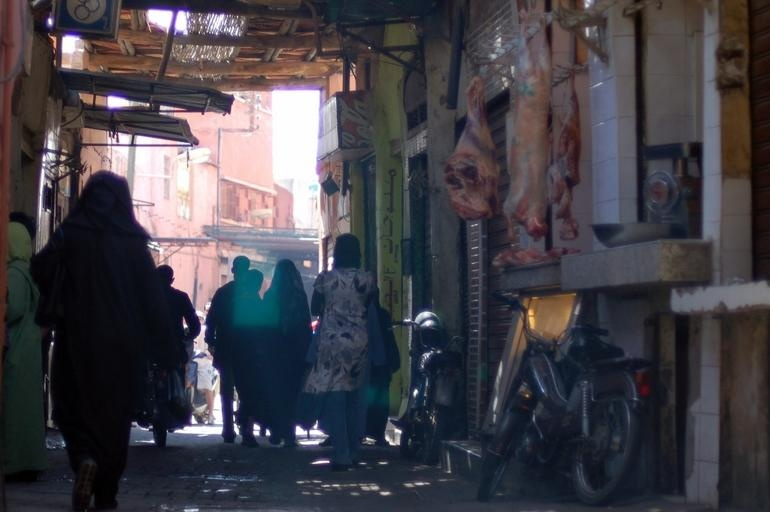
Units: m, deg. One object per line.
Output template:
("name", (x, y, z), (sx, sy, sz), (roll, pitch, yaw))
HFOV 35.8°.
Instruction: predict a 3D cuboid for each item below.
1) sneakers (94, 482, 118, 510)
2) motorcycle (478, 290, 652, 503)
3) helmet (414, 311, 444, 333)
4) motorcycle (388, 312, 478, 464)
("sneakers", (-2.342, 2.025, 10.040), (0.108, 0.226, 0.307), (1, 2, 2))
("motorcycle", (1.595, 1.225, 10.542), (1.517, 1.861, 0.660), (-6, -6, 39))
("helmet", (0.477, 0.732, 13.427), (0.193, 0.274, 0.252), (-7, 12, 1))
("motorcycle", (0.500, 1.428, 13.201), (0.480, 1.683, 0.916), (1, -5, -26))
